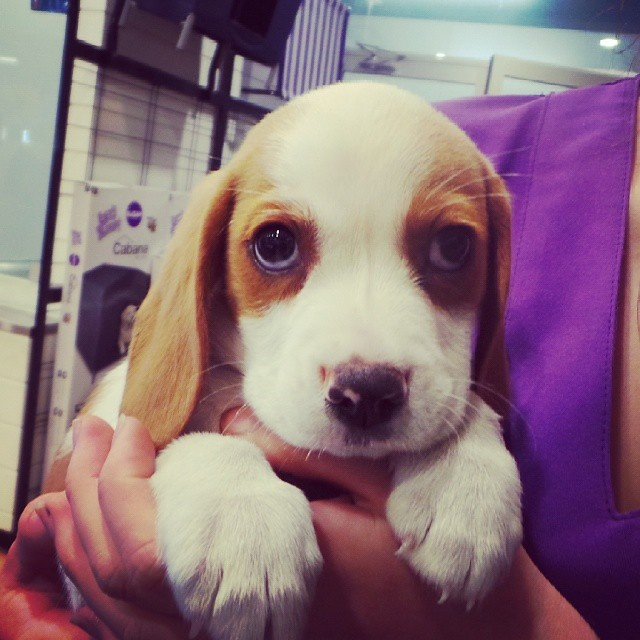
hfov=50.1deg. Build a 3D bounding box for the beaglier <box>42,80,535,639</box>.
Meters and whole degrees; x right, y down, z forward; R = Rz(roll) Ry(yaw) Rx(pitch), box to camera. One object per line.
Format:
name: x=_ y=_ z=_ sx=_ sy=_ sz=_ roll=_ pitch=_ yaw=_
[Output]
beaglier: x=-0.068 y=0.100 z=0.963 sx=0.412 sy=0.621 sz=0.543 roll=6 pitch=66 yaw=-15
